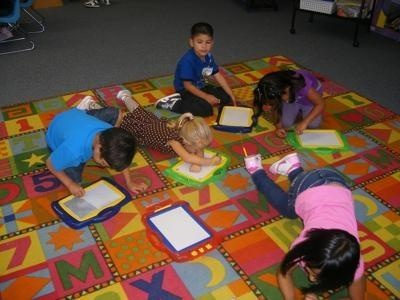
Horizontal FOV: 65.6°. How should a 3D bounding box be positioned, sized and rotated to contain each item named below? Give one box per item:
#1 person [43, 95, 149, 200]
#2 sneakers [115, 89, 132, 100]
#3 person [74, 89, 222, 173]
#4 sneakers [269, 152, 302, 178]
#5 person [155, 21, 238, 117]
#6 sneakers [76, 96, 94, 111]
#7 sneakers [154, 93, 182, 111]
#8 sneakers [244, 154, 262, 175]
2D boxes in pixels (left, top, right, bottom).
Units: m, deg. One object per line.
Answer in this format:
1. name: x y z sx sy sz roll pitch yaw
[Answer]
1. person: -0.766 -0.063 2.071 0.587 0.440 0.812 -17 47 -14
2. sneakers: -0.667 -0.471 2.706 0.127 0.039 0.118 -2 12 18
3. person: -0.259 -0.166 2.313 1.197 0.385 0.483 25 33 3
4. sneakers: 0.563 0.102 2.051 0.095 0.249 0.104 -28 86 -30
5. person: -0.001 -0.711 2.727 0.716 0.744 0.597 -20 42 -29
6. sneakers: -0.930 -0.381 2.578 0.090 0.072 0.194 25 43 3
7. sneakers: -0.279 -0.419 2.744 0.284 0.098 0.109 -12 79 15
8. sneakers: 0.355 0.095 2.104 0.132 0.048 0.114 -16 76 -10
